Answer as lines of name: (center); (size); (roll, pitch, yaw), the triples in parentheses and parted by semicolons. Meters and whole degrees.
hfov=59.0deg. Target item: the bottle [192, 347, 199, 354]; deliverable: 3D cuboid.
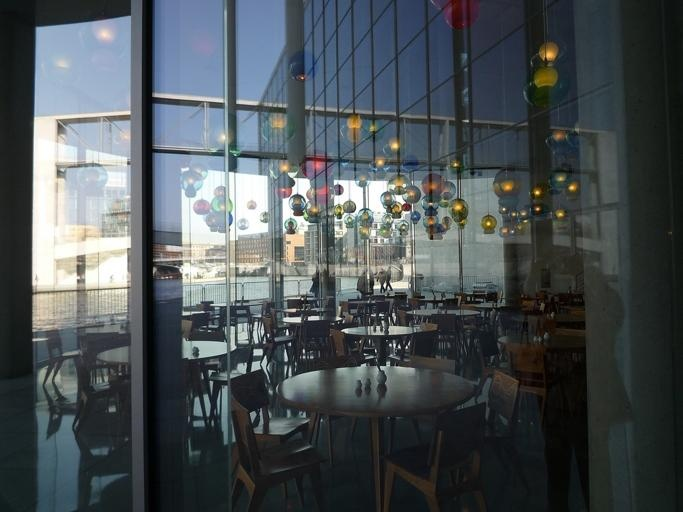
bottle: (-0.630, 0.408, 2.601); (0.029, 0.035, 0.038); (-4, -2, -5)

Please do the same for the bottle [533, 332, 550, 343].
bottle: (1.600, 0.639, 4.829); (0.089, 0.089, 0.157); (-1, -2, -4)
